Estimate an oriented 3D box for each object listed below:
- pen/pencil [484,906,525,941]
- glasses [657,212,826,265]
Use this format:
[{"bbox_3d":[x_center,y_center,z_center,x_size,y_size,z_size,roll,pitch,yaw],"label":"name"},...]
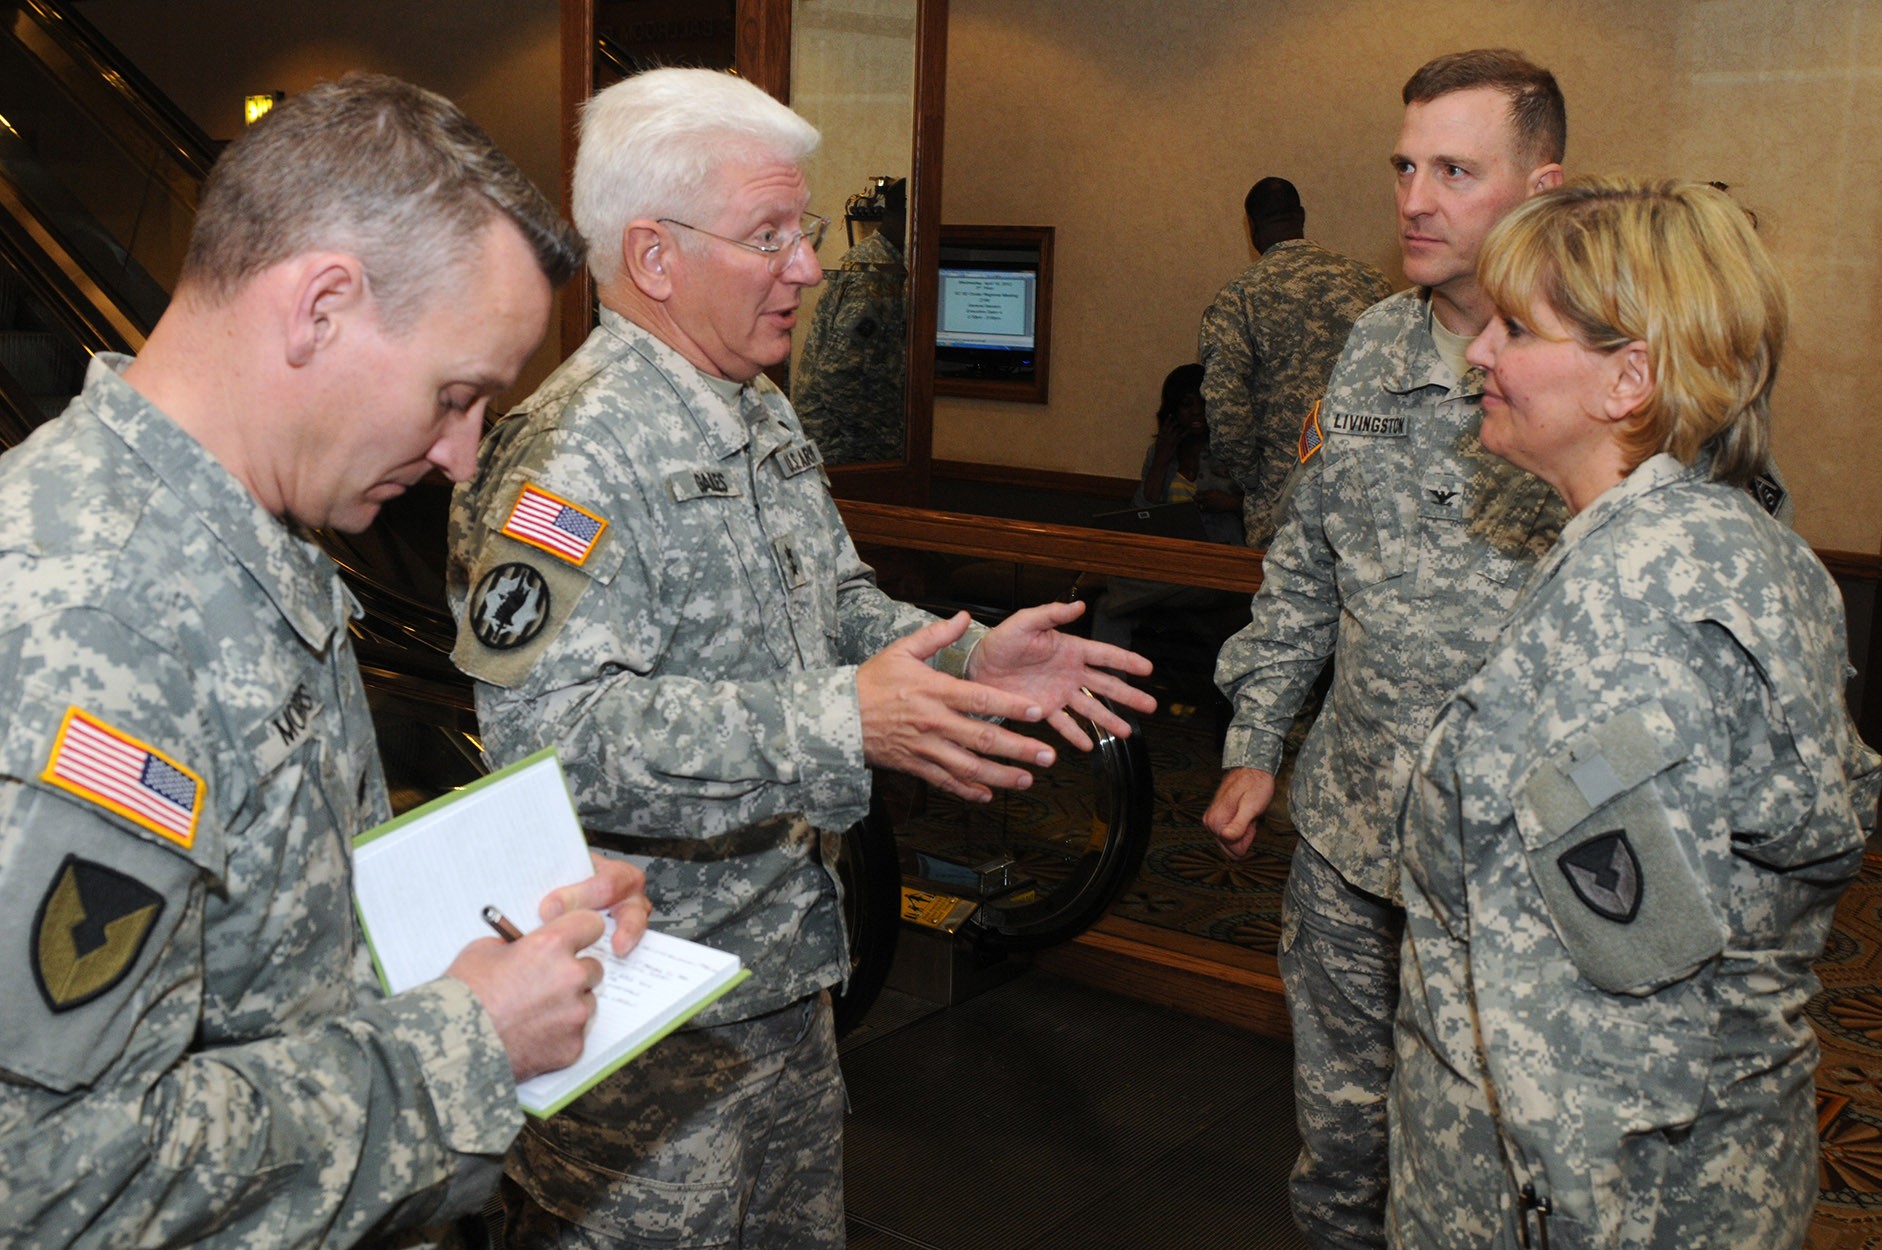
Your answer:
[{"bbox_3d":[-0.514,0.349,1.734,0.021,0.070,0.021,-29,52,15],"label":"pen/pencil"},{"bbox_3d":[-0.318,-0.595,2.267,0.221,0.054,0.212,16,15,20],"label":"glasses"}]
